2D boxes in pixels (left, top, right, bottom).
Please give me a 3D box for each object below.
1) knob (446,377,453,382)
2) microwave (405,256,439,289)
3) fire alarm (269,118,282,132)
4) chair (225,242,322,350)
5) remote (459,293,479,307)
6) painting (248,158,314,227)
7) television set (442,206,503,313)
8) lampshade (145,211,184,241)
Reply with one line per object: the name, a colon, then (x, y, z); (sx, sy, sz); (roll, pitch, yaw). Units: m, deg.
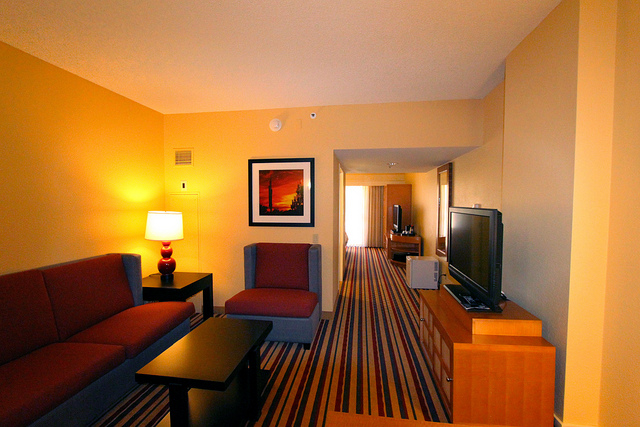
knob: (1.246, 1.586, 4.410); (0.057, 0.034, 0.035); (-3, -1, 16)
microwave: (1.595, 0.893, 7.336); (0.474, 0.473, 0.450); (-3, 17, -2)
fire alarm: (-0.572, -1.147, 6.033); (0.154, 0.160, 0.116); (-1, 4, 1)
chair: (-0.507, 0.981, 5.682); (0.978, 1.152, 0.768); (-1, 4, 10)
remote: (1.530, 0.884, 4.679); (0.102, 0.064, 0.273); (-2, 4, -8)
painting: (-0.473, -0.306, 6.092); (0.906, 0.901, 0.067); (0, 2, 3)
television set: (1.625, 0.464, 4.920); (0.400, 1.049, 1.132); (-2, 8, -6)
lampshade: (-1.972, 0.195, 5.830); (0.495, 0.445, 0.500); (2, 8, -20)
